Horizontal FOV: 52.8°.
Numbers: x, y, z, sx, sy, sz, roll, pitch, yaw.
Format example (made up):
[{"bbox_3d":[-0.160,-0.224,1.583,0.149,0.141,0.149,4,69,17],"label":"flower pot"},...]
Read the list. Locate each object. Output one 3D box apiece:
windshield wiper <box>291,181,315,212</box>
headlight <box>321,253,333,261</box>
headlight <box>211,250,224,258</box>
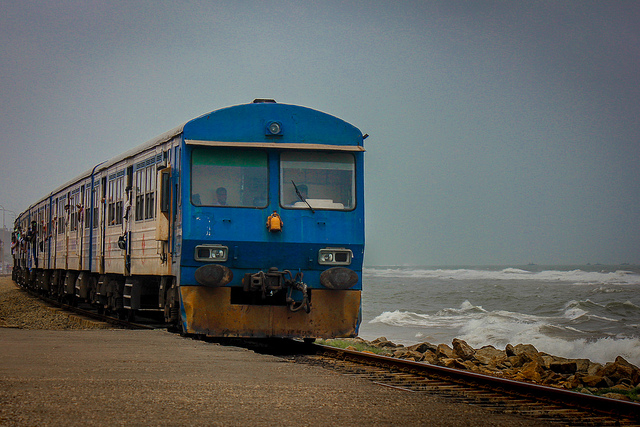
[{"bbox_3d":[-0.378,-0.306,12.992,0.036,0.665,0.092,-33,-5,40],"label":"windshield wiper"},{"bbox_3d":[0.131,0.894,12.951,0.146,0.162,0.050,3,-6,0],"label":"headlight"},{"bbox_3d":[-2.032,0.810,12.710,0.243,0.159,0.043,4,-5,2],"label":"headlight"}]
